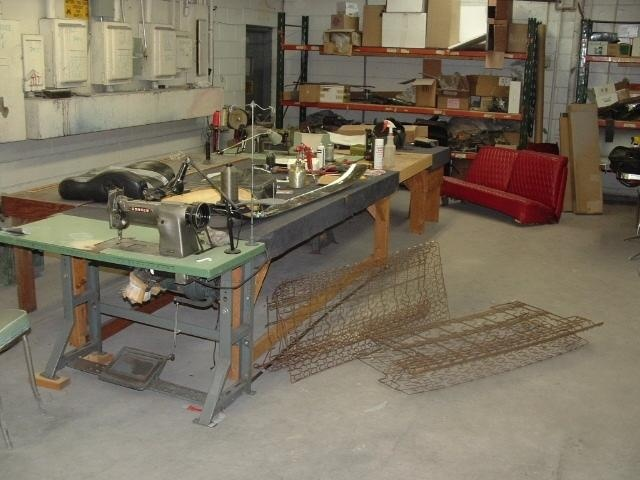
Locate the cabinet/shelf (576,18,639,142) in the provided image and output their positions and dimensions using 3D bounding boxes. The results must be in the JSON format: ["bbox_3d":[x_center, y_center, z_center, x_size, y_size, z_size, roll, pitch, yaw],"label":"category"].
[{"bbox_3d":[4.376,-2.784,8.111,0.829,1.293,0.536,6,18,18],"label":"cabinet/shelf"}]

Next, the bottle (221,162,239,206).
[{"bbox_3d":[-0.611,-0.381,3.576,0.119,0.258,0.276,-3,16,-9],"label":"bottle"}]

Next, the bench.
[{"bbox_3d":[2.444,-0.797,7.240,0.908,0.702,1.631,-27,29,-22],"label":"bench"}]

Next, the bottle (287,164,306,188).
[{"bbox_3d":[-0.189,-0.533,4.321,0.246,0.224,0.196,0,8,-2],"label":"bottle"}]
